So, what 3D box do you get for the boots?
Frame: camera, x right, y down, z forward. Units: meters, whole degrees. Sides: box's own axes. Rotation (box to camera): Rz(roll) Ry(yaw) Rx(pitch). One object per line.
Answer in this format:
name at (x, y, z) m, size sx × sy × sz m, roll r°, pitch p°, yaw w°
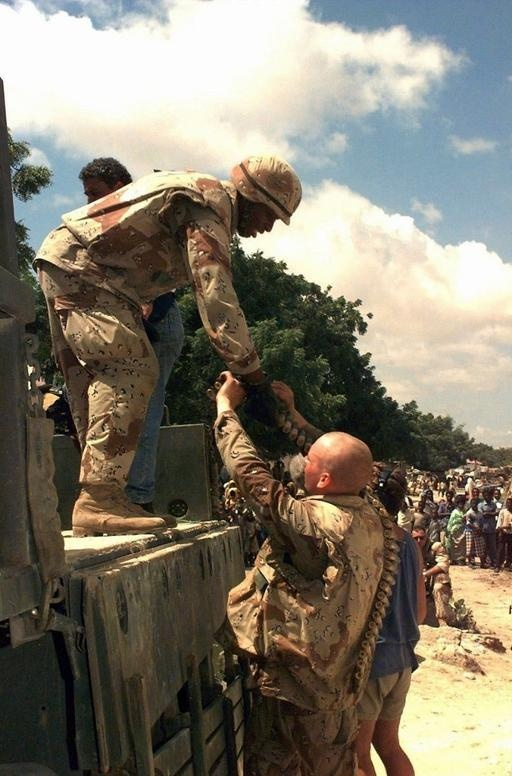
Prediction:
boots at (-0.467, 0.471, 2.648) m, size 0.473 × 0.217 × 0.161 m, roll -1°, pitch -3°, yaw -1°
